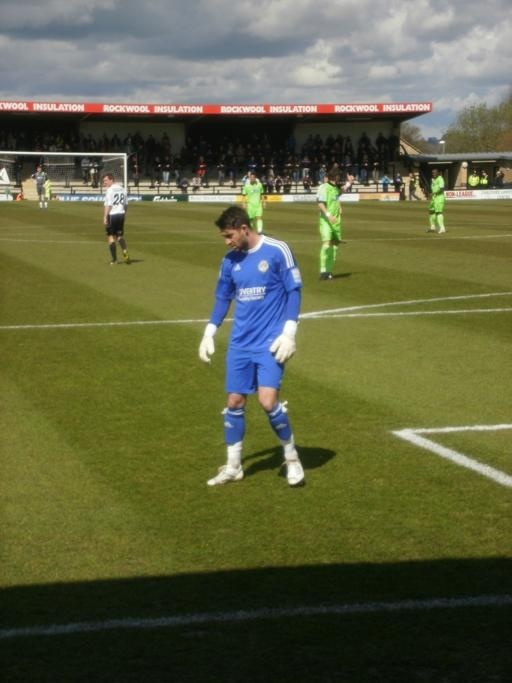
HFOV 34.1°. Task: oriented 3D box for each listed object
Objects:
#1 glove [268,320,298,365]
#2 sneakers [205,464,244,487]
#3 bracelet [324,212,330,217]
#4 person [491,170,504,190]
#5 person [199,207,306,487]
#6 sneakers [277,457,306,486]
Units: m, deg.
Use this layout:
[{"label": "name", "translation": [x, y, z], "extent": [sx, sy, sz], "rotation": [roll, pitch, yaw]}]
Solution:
[{"label": "glove", "translation": [0.148, 0.003, 4.519], "extent": [0.142, 0.239, 0.231], "rotation": [0, 11, 1]}, {"label": "sneakers", "translation": [-0.163, 0.752, 4.693], "extent": [0.238, 0.093, 0.080], "rotation": [-3, 4, -29]}, {"label": "bracelet", "translation": [1.102, -1.966, 12.929], "extent": [0.015, 0.061, 0.061], "rotation": [-45, 18, 1]}, {"label": "person", "translation": [14.161, -9.488, 48.600], "extent": [0.654, 1.110, 1.894], "rotation": [2, 11, 16]}, {"label": "person", "translation": [-0.029, 0.021, 4.669], "extent": [0.589, 1.533, 0.540], "rotation": [-1, 11, 0]}, {"label": "sneakers", "translation": [0.223, 0.721, 4.641], "extent": [0.084, 0.079, 0.177], "rotation": [-1, 19, -5]}]
